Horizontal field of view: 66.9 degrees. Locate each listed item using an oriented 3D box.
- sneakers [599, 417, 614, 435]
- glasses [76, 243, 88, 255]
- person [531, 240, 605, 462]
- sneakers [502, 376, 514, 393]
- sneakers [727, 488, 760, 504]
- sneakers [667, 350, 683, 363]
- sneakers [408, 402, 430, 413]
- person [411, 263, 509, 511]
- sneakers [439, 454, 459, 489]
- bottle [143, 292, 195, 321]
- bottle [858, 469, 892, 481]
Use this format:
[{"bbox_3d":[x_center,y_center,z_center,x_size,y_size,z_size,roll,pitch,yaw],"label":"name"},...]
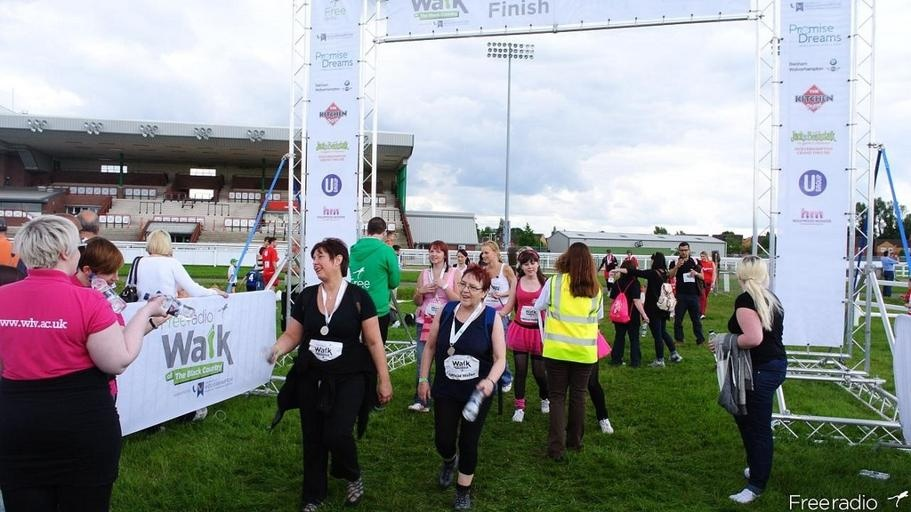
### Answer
[{"bbox_3d":[2.610,2.993,12.016,0.164,0.302,0.204,-3,40,10],"label":"sneakers"},{"bbox_3d":[-5.306,-0.080,9.807,0.134,0.178,0.170,-7,-13,31],"label":"glasses"},{"bbox_3d":[1.839,1.550,11.333,1.010,3.536,0.494,2,2,7],"label":"person"},{"bbox_3d":[1.010,2.548,13.454,0.168,0.198,0.311,-5,-29,11],"label":"sneakers"},{"bbox_3d":[4.359,3.652,10.424,0.345,0.159,0.206,-6,-5,5],"label":"sneakers"},{"bbox_3d":[4.940,2.315,15.569,0.259,0.186,0.250,-10,0,20],"label":"sneakers"},{"bbox_3d":[-0.680,2.822,12.673,0.361,0.171,0.163,22,-22,-35],"label":"sneakers"},{"bbox_3d":[0.076,1.959,10.224,1.231,3.627,0.721,2,2,9],"label":"person"},{"bbox_3d":[-0.119,3.363,10.590,0.206,0.613,0.235,5,-1,15],"label":"sneakers"},{"bbox_3d":[-3.985,0.717,9.526,0.283,0.315,0.924,-15,-21,23],"label":"bottle"},{"bbox_3d":[6.622,3.494,10.944,0.423,0.120,0.252,3,2,32],"label":"bottle"}]
